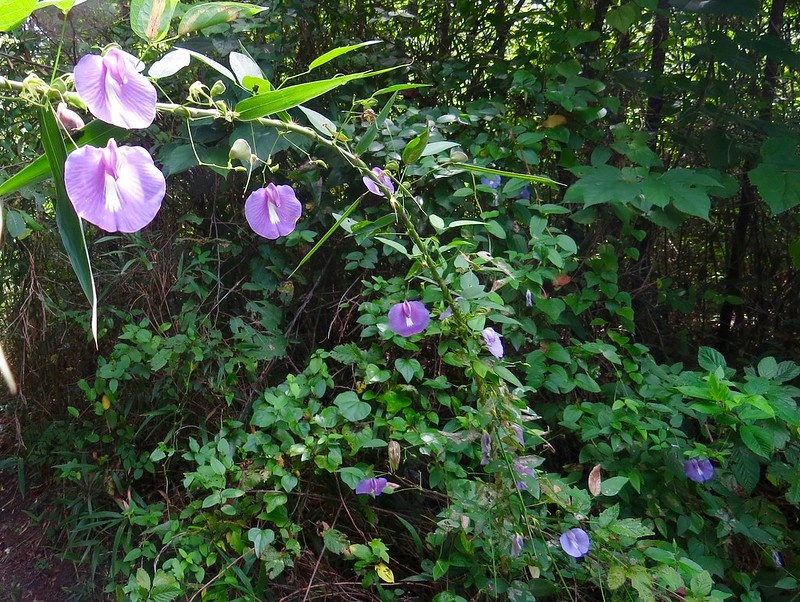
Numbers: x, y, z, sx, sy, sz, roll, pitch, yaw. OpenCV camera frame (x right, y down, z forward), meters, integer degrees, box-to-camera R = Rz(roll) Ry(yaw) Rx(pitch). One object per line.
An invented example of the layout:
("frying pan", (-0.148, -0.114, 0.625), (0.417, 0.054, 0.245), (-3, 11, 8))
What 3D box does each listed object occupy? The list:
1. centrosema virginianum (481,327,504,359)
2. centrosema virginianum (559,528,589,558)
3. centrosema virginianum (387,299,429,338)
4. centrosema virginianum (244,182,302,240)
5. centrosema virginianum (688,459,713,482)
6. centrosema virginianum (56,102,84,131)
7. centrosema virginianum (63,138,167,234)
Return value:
("centrosema virginianum", (0.312, 0.138, 2.023), (0.031, 0.098, 0.101), (-22, 2, 28))
("centrosema virginianum", (0.565, 0.774, 1.938), (0.099, 0.071, 0.042), (12, 8, 15))
("centrosema virginianum", (0.030, 0.062, 2.117), (0.127, 0.122, 0.033), (3, 14, 3))
("centrosema virginianum", (-0.356, -0.256, 1.700), (0.178, 0.153, 0.067), (-14, 7, -19))
("centrosema virginianum", (1.097, 0.625, 2.223), (0.093, 0.085, 0.042), (10, 8, -6))
("centrosema virginianum", (-0.770, -0.430, 1.420), (0.066, 0.065, 0.021), (31, 32, -6))
("centrosema virginianum", (-0.653, -0.311, 1.384), (0.171, 0.053, 0.164), (-5, -5, 31))
